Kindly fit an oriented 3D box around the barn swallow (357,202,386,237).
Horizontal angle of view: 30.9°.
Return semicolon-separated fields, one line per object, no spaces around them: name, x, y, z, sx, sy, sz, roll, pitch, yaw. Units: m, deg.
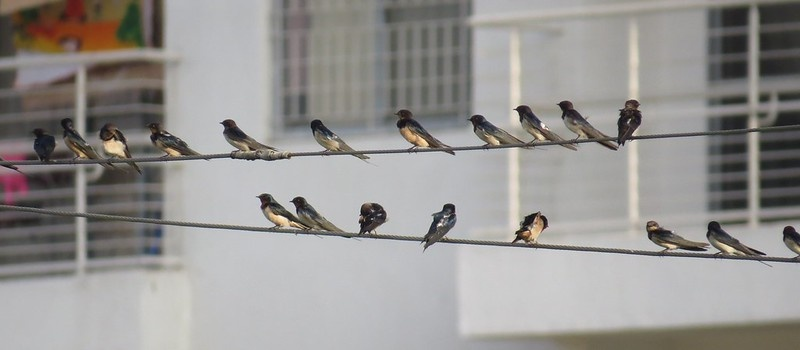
barn swallow;-0.464;0.715;23.887;0.448;0.552;0.515;-6;-9;-1

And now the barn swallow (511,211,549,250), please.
barn swallow;2.135;0.885;24.085;0.602;0.588;0.767;-6;-8;3

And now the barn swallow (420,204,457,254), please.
barn swallow;0.619;0.814;23.915;0.558;0.707;0.850;-6;-8;0

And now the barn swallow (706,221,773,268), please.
barn swallow;5.497;1.062;24.017;0.754;0.672;1.012;-7;-8;10
